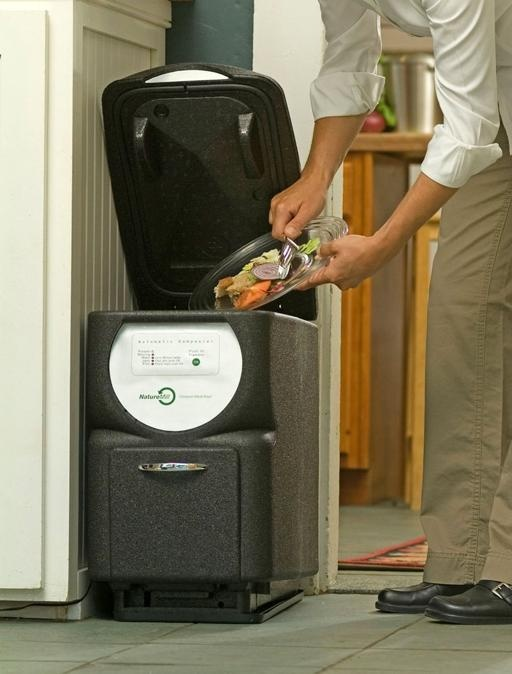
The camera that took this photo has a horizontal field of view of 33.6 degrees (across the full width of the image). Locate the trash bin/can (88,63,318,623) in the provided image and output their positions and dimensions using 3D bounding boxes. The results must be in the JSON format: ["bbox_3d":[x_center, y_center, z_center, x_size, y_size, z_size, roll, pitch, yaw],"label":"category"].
[{"bbox_3d":[-0.082,0.064,1.376,0.377,0.906,0.606,1,30,-1],"label":"trash bin/can"}]
